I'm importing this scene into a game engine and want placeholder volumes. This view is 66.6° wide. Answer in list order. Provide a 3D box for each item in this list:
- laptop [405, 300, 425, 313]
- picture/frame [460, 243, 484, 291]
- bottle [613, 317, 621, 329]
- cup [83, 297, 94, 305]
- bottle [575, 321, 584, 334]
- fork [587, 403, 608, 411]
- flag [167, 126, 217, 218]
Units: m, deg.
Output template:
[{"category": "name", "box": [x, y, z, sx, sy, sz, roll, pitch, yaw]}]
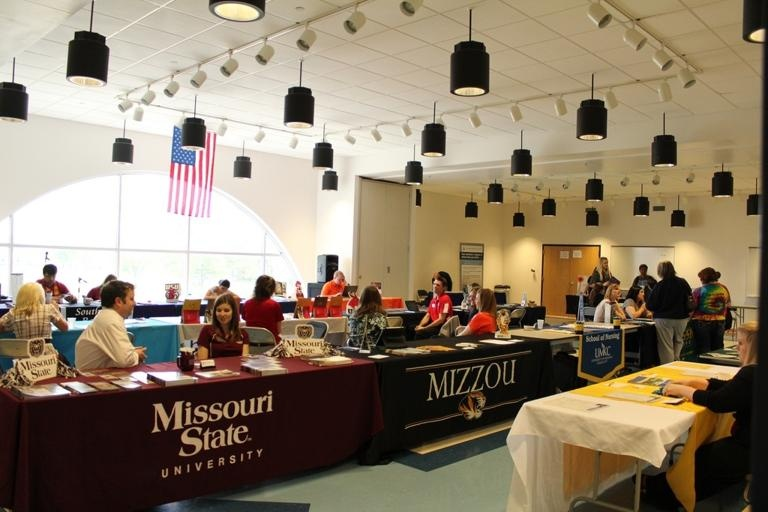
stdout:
[{"category": "laptop", "box": [0.595, 1.024, 11.779, 0.305, 0.275, 0.430, -13, -13, 40]}, {"category": "picture/frame", "box": [2.640, 0.298, 17.929, 0.142, 1.921, 1.473, -2, -2, 44]}, {"category": "bottle", "box": [3.421, 0.980, 8.630, 0.121, 0.193, 0.120, 0, 1, 0]}, {"category": "cup", "box": [-4.707, 0.717, 9.360, 0.122, 0.069, 0.170, 1, 5, -23]}, {"category": "bottle", "box": [2.724, 0.993, 8.176, 0.140, 0.154, 0.140, 5, -7, -14]}, {"category": "fork", "box": [1.765, 1.250, 4.874, 0.085, 0.018, 0.239, 0, 1, 43]}, {"category": "flag", "box": [-3.912, -1.691, 12.191, 0.982, 1.769, 0.015, 3, 2, -41]}]
